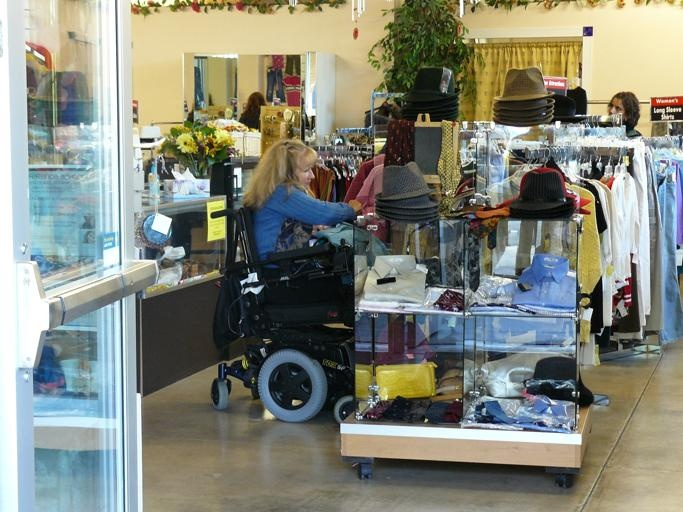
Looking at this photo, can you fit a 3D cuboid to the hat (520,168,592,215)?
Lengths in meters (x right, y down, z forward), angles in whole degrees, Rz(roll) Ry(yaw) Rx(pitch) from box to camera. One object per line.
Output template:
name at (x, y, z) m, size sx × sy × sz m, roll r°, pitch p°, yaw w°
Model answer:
hat at (1.126, -0.339, 3.746) m, size 0.243 × 0.142 × 0.347 m, roll 5°, pitch 6°, yaw 17°

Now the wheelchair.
wheelchair at (-0.329, 0.313, 4.629) m, size 0.996 × 1.309 × 0.941 m, roll -2°, pitch 8°, yaw -20°

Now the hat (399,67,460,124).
hat at (0.587, -1.029, 4.578) m, size 0.272 × 0.256 × 0.398 m, roll 7°, pitch 20°, yaw 18°

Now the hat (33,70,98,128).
hat at (-0.710, -0.400, 1.857) m, size 0.154 × 0.137 × 0.263 m, roll -2°, pitch 4°, yaw -23°

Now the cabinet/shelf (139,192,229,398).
cabinet/shelf at (-1.044, 0.250, 4.759) m, size 0.377 × 1.097 × 1.177 m, roll 1°, pitch 8°, yaw 17°

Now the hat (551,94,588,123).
hat at (1.703, -1.087, 5.428) m, size 0.219 × 0.214 × 0.948 m, roll 2°, pitch 9°, yaw 16°

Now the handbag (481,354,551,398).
handbag at (0.837, 0.588, 3.486) m, size 0.260 × 0.278 × 0.196 m, roll 8°, pitch -5°, yaw 11°

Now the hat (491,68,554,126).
hat at (1.197, -1.050, 4.782) m, size 0.378 × 0.370 × 0.332 m, roll 2°, pitch 8°, yaw 14°

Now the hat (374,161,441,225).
hat at (0.335, -0.315, 3.662) m, size 0.231 × 0.174 × 0.325 m, roll -7°, pitch 10°, yaw -17°

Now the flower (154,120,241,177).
flower at (-1.013, -0.793, 5.255) m, size 0.405 × 0.346 × 0.430 m, roll 9°, pitch 15°, yaw 37°

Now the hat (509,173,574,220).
hat at (0.995, -0.305, 3.581) m, size 0.310 × 0.232 × 0.300 m, roll 3°, pitch 9°, yaw 18°
